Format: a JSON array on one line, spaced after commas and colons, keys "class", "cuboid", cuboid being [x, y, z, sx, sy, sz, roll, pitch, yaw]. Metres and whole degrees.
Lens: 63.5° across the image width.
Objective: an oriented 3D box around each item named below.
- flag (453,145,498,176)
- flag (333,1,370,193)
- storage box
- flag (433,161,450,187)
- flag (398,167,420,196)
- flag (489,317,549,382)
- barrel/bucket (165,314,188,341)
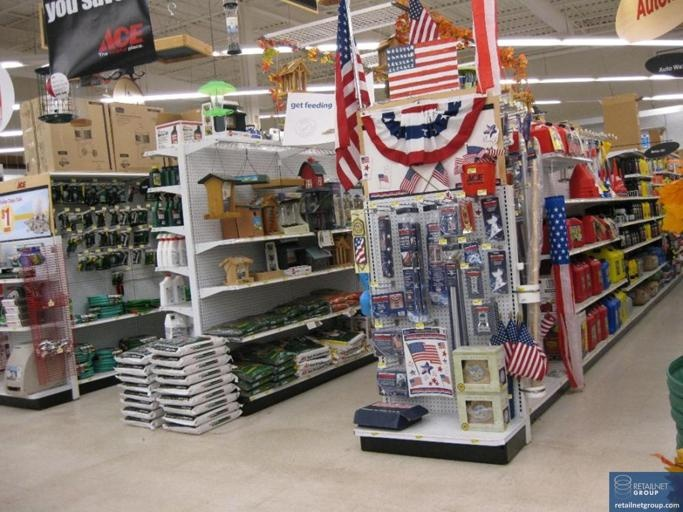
[{"class": "flag", "cuboid": [1.040, -0.764, 4.309, 0.320, 0.101, 0.307, -1, 6, 26]}, {"class": "flag", "cuboid": [0.046, -1.422, 4.886, 0.344, 1.612, 0.349, -7, 6, 0]}, {"class": "storage box", "cuboid": [-3.308, -1.563, 7.232, 0.806, 0.803, 1.439, 2, 6, 28]}, {"class": "flag", "cuboid": [0.816, -0.674, 4.496, 0.168, 0.165, 0.020, 29, 14, 4]}, {"class": "flag", "cuboid": [0.567, -0.635, 4.610, 0.207, 0.246, 0.021, 21, 27, 33]}, {"class": "flag", "cuboid": [1.377, 0.713, 4.260, 0.413, 0.449, 0.148, -9, -8, 26]}, {"class": "barrel/bucket", "cuboid": [-1.855, 0.778, 6.141, 0.253, 0.298, 0.511, -8, 6, -18]}]
